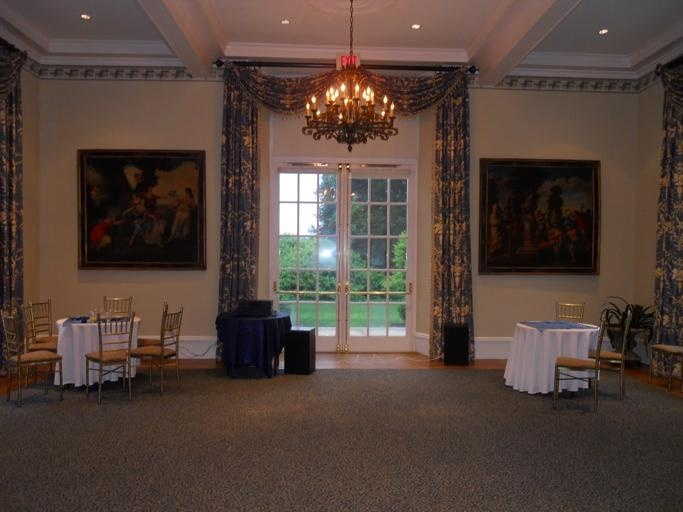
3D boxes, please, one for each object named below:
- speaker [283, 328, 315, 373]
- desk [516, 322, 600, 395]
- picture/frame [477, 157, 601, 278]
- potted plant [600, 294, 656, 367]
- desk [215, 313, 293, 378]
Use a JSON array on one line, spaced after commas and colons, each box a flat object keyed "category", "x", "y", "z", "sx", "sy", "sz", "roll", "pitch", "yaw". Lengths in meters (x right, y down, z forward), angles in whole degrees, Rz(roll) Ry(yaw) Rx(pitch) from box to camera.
[{"category": "speaker", "x": -0.753, "y": 1.578, "z": 9.229, "sx": 0.463, "sy": 0.668, "sz": 0.663, "roll": 2, "pitch": -10, "yaw": -9}, {"category": "desk", "x": 2.956, "y": 1.371, "z": 7.928, "sx": 0.926, "sy": 0.771, "sz": 1.020, "roll": 1, "pitch": -9, "yaw": 6}, {"category": "picture/frame", "x": 3.476, "y": -0.689, "z": 10.125, "sx": 1.918, "sy": 2.108, "sz": 0.081, "roll": 0, "pitch": 1, "yaw": -2}, {"category": "potted plant", "x": 5.008, "y": 1.380, "z": 9.812, "sx": 0.785, "sy": 1.123, "sz": 0.799, "roll": 7, "pitch": -6, "yaw": -39}, {"category": "desk", "x": -1.421, "y": 1.409, "z": 9.066, "sx": 1.137, "sy": 0.996, "sz": 1.183, "roll": 1, "pitch": 3, "yaw": 25}]
